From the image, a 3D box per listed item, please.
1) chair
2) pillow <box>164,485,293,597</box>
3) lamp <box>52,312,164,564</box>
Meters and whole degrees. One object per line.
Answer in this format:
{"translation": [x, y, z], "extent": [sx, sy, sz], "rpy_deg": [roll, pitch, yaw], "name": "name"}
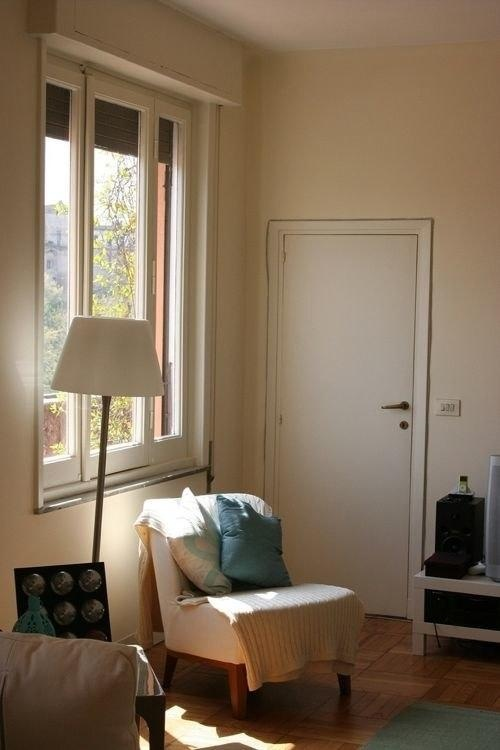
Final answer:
{"translation": [-0.066, 0.927, 2.603], "extent": [0.925, 0.838, 0.592], "rpy_deg": [-3, -8, 25], "name": "chair"}
{"translation": [-0.121, 0.701, 2.674], "extent": [0.407, 0.420, 0.124], "rpy_deg": [5, -37, -29], "name": "pillow"}
{"translation": [-0.481, 0.238, 2.193], "extent": [0.333, 0.876, 0.382], "rpy_deg": [0, -7, 5], "name": "lamp"}
